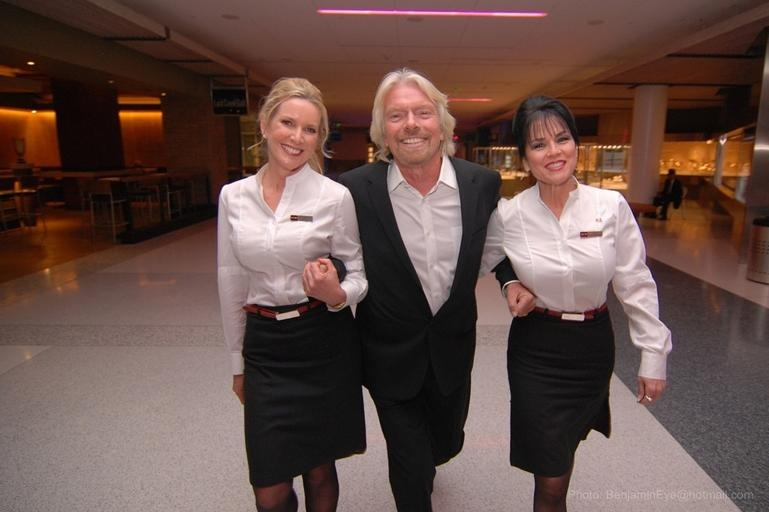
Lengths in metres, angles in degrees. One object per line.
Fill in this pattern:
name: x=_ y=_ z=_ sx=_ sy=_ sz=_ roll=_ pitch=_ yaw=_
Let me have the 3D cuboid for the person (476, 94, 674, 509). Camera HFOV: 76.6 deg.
person: x=1.148 y=0.495 z=2.911 sx=0.885 sy=1.890 sz=0.623 roll=-1 pitch=13 yaw=-4
